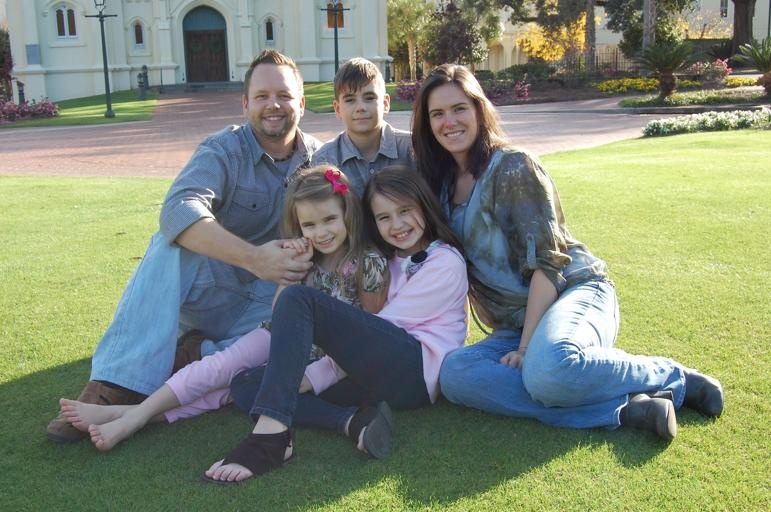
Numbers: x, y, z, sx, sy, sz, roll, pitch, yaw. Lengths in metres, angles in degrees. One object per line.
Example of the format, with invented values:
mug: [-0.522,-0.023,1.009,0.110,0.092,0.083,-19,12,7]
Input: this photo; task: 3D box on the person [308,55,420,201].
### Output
person: [-0.119,-0.894,4.333,0.991,0.974,0.479,-5,13,2]

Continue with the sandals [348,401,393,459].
sandals: [-0.082,0.917,3.228,0.256,0.229,0.274,-3,15,-2]

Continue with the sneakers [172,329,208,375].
sneakers: [-1.269,0.614,3.888,0.164,0.233,0.087,-4,-31,39]

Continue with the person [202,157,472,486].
person: [-0.108,0.296,3.309,0.624,1.409,1.491,9,18,37]

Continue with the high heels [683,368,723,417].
high heels: [1.743,0.748,3.313,0.224,0.221,0.162,2,15,17]

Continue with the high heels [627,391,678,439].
high heels: [1.372,0.830,3.166,0.115,0.173,0.265,17,-9,-42]

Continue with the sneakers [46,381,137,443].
sneakers: [-1.644,0.855,3.435,0.201,0.244,0.519,7,17,33]

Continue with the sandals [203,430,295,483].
sandals: [-0.688,0.983,3.074,0.409,0.170,0.189,-7,6,-37]
